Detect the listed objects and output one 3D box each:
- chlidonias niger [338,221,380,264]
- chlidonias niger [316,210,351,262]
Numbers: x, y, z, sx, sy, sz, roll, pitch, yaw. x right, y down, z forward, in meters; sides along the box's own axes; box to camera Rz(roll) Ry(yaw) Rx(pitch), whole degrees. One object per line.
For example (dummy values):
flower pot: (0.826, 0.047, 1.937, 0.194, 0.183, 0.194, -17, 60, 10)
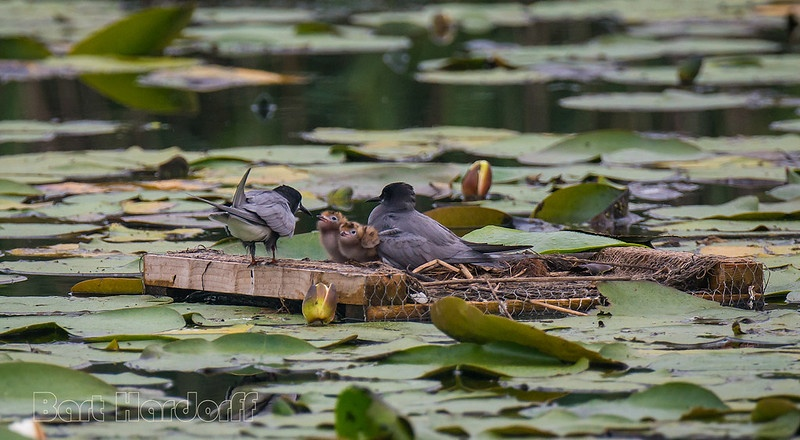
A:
chlidonias niger: (-0.586, 0.299, 17.879, 0.642, 0.617, 0.460, 2, 3, 40)
chlidonias niger: (-0.989, 0.236, 17.890, 0.469, 0.695, 0.469, 1, 3, -30)
